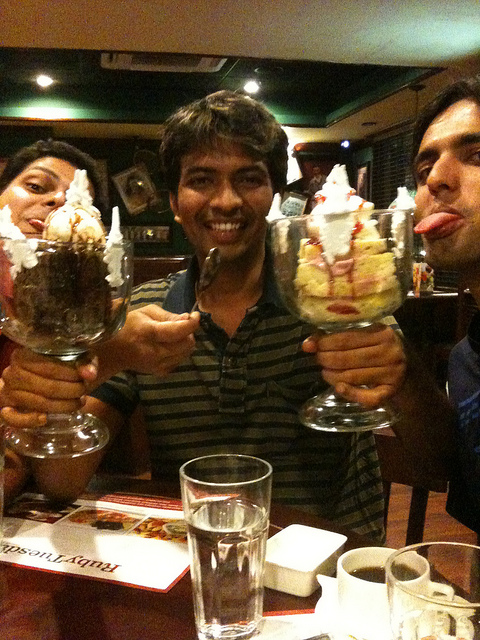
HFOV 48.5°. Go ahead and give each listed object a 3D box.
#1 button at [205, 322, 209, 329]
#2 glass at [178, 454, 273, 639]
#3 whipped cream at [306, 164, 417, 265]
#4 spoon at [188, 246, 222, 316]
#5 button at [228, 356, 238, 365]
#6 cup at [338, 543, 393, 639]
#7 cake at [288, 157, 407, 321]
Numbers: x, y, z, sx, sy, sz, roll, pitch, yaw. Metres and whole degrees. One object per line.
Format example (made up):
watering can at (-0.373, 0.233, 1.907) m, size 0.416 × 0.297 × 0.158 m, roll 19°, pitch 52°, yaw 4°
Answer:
button at (-0.087, 0.013, 1.418) m, size 0.009 × 0.014 × 0.009 m, roll 2°, pitch 5°, yaw 34°
glass at (-0.015, 0.268, 0.624) m, size 0.107 × 0.204 × 0.138 m, roll -1°, pitch 4°, yaw -6°
whipped cream at (0.166, -0.135, 0.786) m, size 0.175 × 0.142 × 0.173 m, roll -1°, pitch 0°, yaw -6°
spoon at (-0.066, -0.067, 0.983) m, size 0.032 × 0.141 × 0.022 m, roll 32°, pitch 11°, yaw 26°
button at (-0.018, 0.106, 1.396) m, size 0.019 × 0.013 × 0.021 m, roll -1°, pitch 0°, yaw -29°
cup at (0.139, 0.308, 0.608) m, size 0.060 × 0.053 × 0.087 m, roll -2°, pitch 4°, yaw 5°
cake at (0.132, -0.114, 0.778) m, size 0.191 × 0.229 × 0.143 m, roll -5°, pitch 7°, yaw -20°
